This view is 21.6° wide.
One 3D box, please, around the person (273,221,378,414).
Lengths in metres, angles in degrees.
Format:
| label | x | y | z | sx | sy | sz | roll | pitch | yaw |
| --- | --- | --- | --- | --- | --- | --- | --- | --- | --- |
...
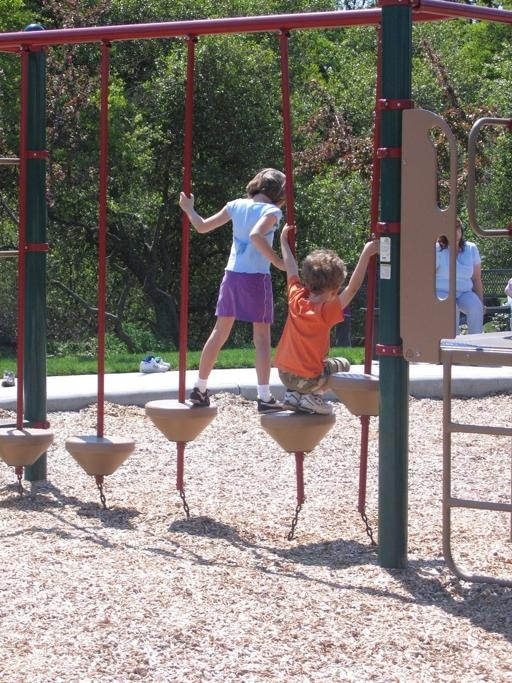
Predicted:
| label | x | y | z | sx | sy | sz | roll | pitch | yaw |
| --- | --- | --- | --- | --- | --- | --- | --- | --- | --- |
| person | 0.303 | -0.078 | 5.547 | 0.264 | 0.770 | 0.518 | -3 | 9 | -28 |

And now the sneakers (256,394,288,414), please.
| label | x | y | z | sx | sy | sz | roll | pitch | yaw |
| --- | --- | --- | --- | --- | --- | --- | --- | --- | --- |
| sneakers | 0.076 | 0.288 | 5.958 | 0.150 | 0.084 | 0.052 | 2 | 0 | -30 |

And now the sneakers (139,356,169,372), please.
| label | x | y | z | sx | sy | sz | roll | pitch | yaw |
| --- | --- | --- | --- | --- | --- | --- | --- | --- | --- |
| sneakers | -0.732 | 0.158 | 9.755 | 0.087 | 0.124 | 0.259 | 5 | 4 | 36 |

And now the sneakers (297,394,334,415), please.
| label | x | y | z | sx | sy | sz | roll | pitch | yaw |
| --- | --- | --- | --- | --- | --- | --- | --- | --- | --- |
| sneakers | 0.268 | 0.261 | 5.626 | 0.174 | 0.092 | 0.063 | 11 | 2 | -23 |

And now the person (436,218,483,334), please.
| label | x | y | z | sx | sy | sz | roll | pitch | yaw |
| --- | --- | --- | --- | --- | --- | --- | --- | --- | --- |
| person | 1.410 | -0.429 | 9.182 | 0.333 | 0.874 | 1.558 | 3 | 8 | 8 |

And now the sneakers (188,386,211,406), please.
| label | x | y | z | sx | sy | sz | roll | pitch | yaw |
| --- | --- | --- | --- | --- | --- | --- | --- | --- | --- |
| sneakers | -0.247 | 0.251 | 5.935 | 0.044 | 0.064 | 0.124 | 3 | -2 | 19 |
